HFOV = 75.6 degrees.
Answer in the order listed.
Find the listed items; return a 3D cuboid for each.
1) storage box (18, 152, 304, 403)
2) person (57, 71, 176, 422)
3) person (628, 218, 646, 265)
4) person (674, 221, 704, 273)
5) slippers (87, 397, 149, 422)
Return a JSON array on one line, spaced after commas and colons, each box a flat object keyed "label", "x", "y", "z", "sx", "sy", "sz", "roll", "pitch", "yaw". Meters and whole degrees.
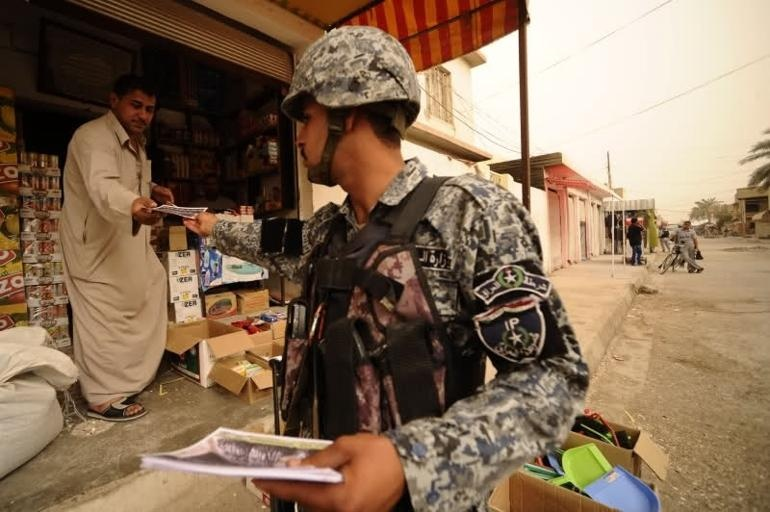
[{"label": "storage box", "x": -3.123, "y": 0.169, "z": 7.200, "sx": 2.380, "sy": 4.145, "sz": 2.490, "roll": -3, "pitch": 1, "yaw": 18}, {"label": "person", "x": -2.857, "y": -0.114, "z": 5.244, "sx": 1.084, "sy": 3.608, "sz": 1.134, "roll": -3, "pitch": 2, "yaw": -19}, {"label": "person", "x": 8.858, "y": -0.472, "z": 17.503, "sx": 0.394, "sy": 1.513, "sz": 1.741, "roll": -1, "pitch": 2, "yaw": 26}, {"label": "person", "x": 8.955, "y": -0.270, "z": 14.730, "sx": 0.710, "sy": 1.536, "sz": 0.835, "roll": 0, "pitch": 3, "yaw": 42}, {"label": "slippers", "x": -2.843, "y": 1.603, "z": 5.223, "sx": 0.656, "sy": 0.144, "sz": 0.192, "roll": -2, "pitch": 2, "yaw": 9}]
